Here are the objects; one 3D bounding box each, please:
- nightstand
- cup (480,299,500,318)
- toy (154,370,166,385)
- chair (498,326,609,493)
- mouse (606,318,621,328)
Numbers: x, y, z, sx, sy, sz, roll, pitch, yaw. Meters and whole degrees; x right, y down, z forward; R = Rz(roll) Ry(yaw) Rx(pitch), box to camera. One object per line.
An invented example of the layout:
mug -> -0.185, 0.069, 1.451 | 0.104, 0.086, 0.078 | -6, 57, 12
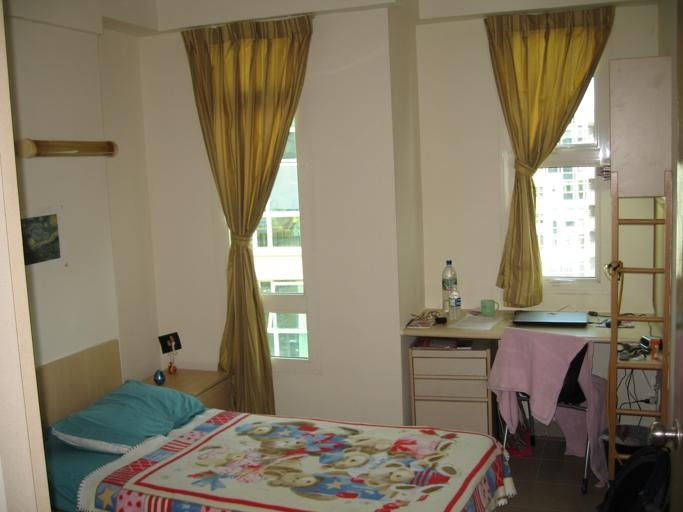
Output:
nightstand -> -1.156, 0.988, 4.264 | 0.377, 0.398, 0.400 | 4, 12, 24
cup -> 1.180, 0.416, 4.405 | 0.139, 0.134, 0.099 | 2, -1, -11
toy -> -1.377, 0.925, 4.211 | 0.091, 0.107, 0.091 | -7, 12, -42
chair -> 1.478, 0.979, 3.903 | 0.792, 1.040, 0.741 | 3, 12, 25
mouse -> 1.839, 0.454, 3.714 | 0.088, 0.049, 0.131 | -2, -3, 5
